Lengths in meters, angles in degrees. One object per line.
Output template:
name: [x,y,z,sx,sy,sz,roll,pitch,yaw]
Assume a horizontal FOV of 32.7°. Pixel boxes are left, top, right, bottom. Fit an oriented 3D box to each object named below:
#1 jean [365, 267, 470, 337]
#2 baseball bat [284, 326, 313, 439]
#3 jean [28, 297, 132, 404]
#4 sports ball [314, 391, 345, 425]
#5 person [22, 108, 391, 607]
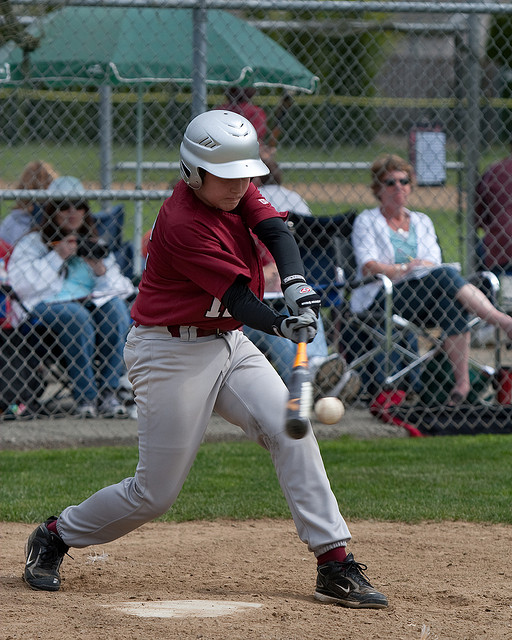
jean: [0.922,-0.120,4.888,0.539,0.373,0.502,3,11,-10]
baseball bat: [0.115,0.132,2.266,0.040,0.262,0.053,5,-8,-30]
jean: [-0.896,0.118,4.857,0.569,0.522,0.425,8,-17,31]
sports ball: [0.241,0.265,2.575,0.109,0.095,0.094,0,-7,-7]
person: [-0.145,0.118,2.547,1.008,1.432,0.388,2,5,25]
